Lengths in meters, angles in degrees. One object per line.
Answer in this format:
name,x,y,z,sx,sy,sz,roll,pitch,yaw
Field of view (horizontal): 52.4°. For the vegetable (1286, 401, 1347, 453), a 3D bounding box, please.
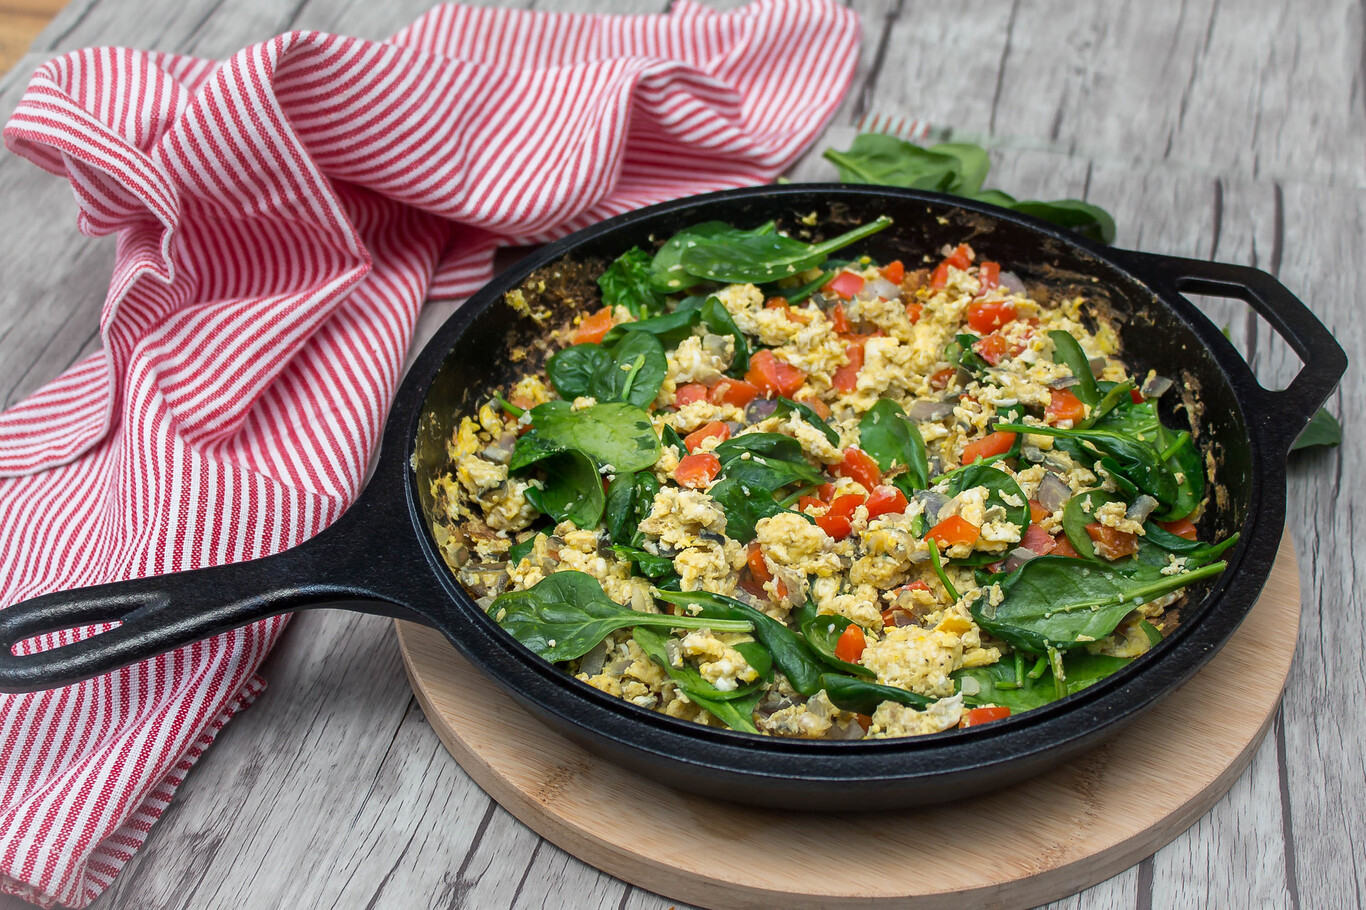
vegetable,1.552,-0.066,3.436,0.219,0.043,0.068,-23,59,-32
